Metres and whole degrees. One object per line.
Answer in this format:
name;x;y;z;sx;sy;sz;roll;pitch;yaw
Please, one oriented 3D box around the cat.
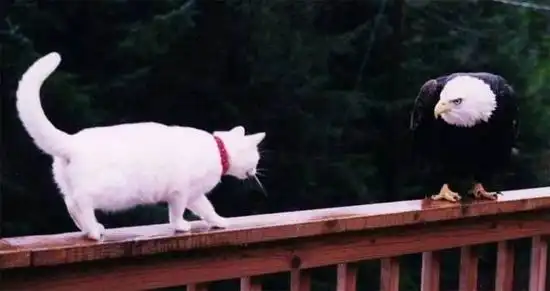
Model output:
cat;-1.285;0.059;10.187;2.568;1.548;0.888;2;2;-30
